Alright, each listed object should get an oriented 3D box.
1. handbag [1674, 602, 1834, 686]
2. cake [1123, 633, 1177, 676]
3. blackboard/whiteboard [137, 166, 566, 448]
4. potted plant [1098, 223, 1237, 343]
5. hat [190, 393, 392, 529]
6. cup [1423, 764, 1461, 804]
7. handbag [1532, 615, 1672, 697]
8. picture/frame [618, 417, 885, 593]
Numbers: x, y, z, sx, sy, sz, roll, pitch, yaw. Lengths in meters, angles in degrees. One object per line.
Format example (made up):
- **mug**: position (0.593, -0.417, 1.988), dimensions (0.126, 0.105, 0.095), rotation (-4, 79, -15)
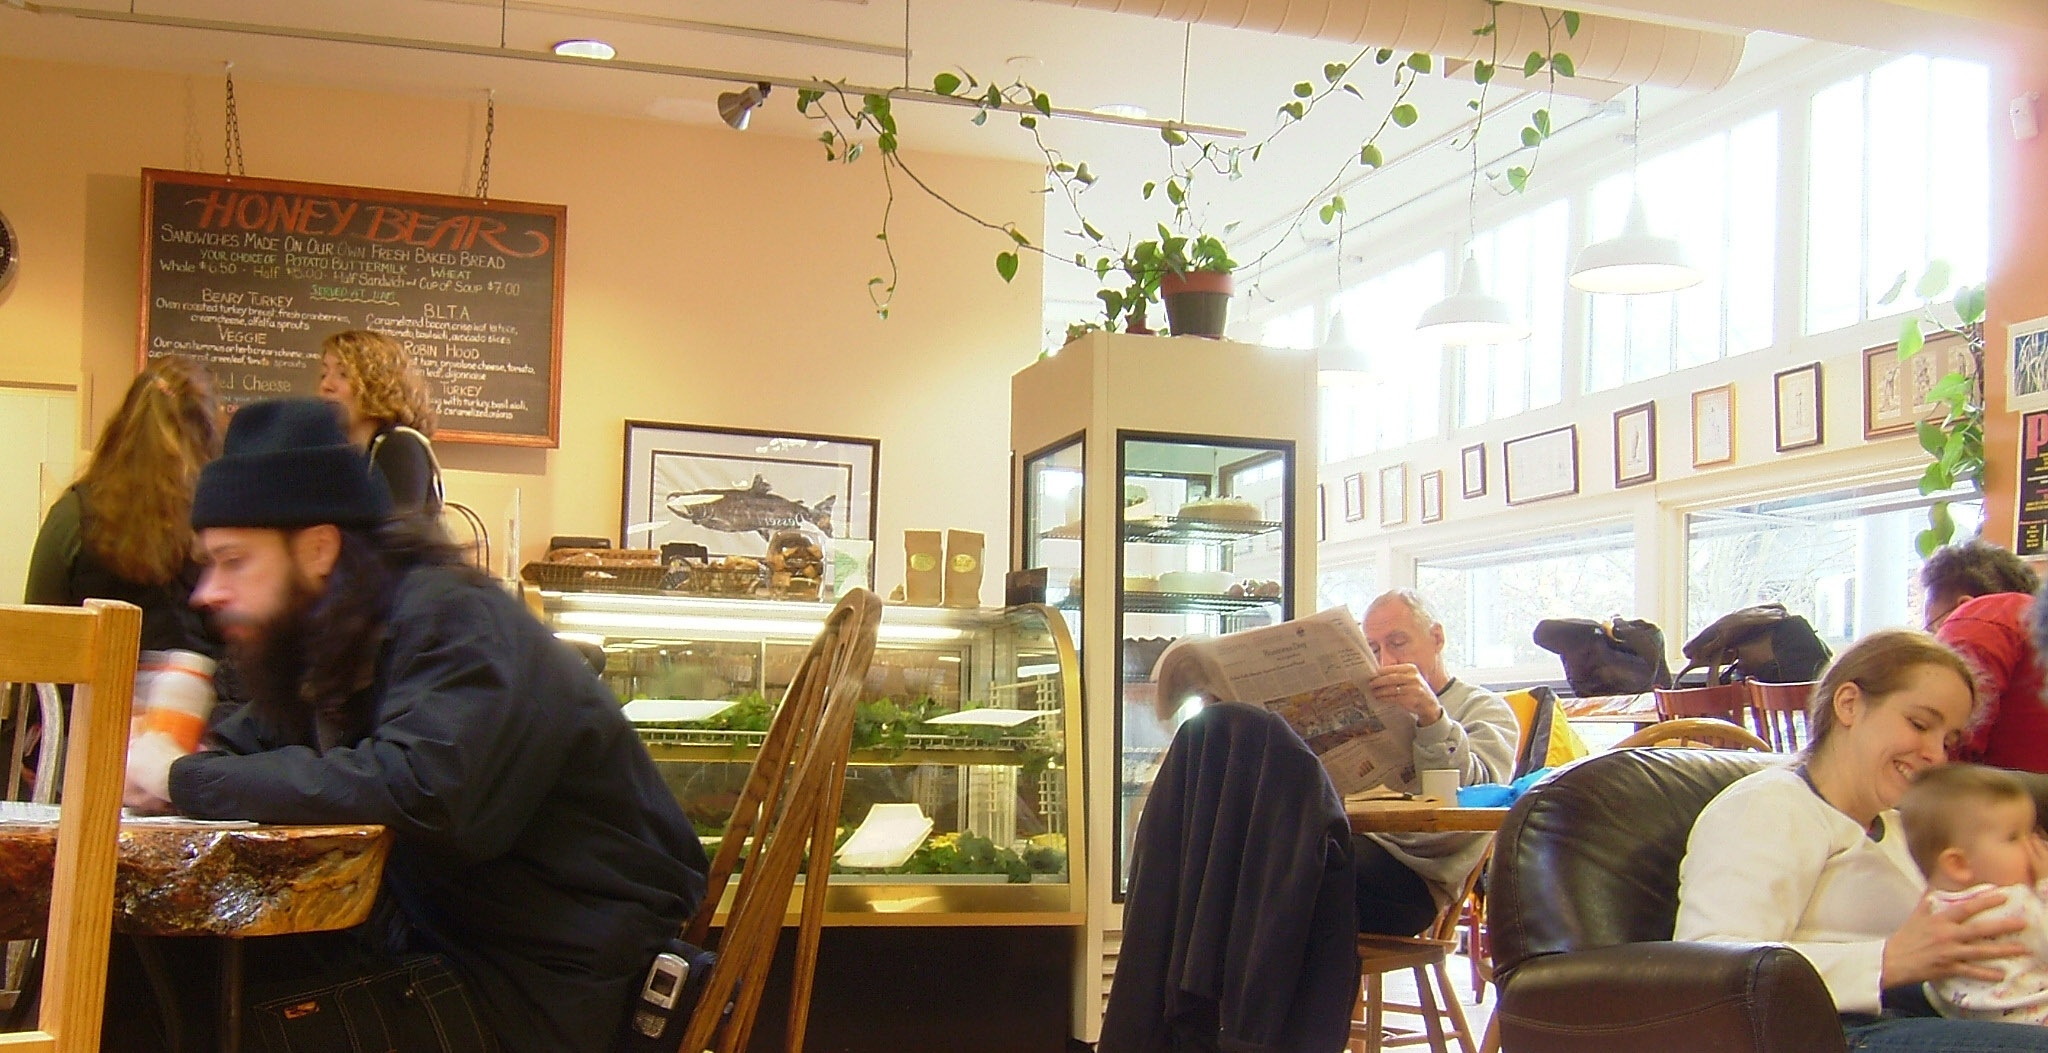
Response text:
- **handbag**: position (3.812, 0.573, 7.819), dimensions (0.994, 0.396, 0.796), rotation (-6, 4, -39)
- **cake**: position (0.561, 0.583, 6.596), dimensions (0.214, 0.121, 0.194), rotation (0, -6, 4)
- **blackboard/whiteboard**: position (-3.775, -1.210, 8.342), dimensions (0.054, 1.441, 2.533), rotation (15, 13, 33)
- **potted plant**: position (0.657, -1.134, 6.899), dimensions (0.726, 0.458, 0.745), rotation (3, 13, 43)
- **hat**: position (-1.911, -0.164, 3.876), dimensions (0.556, 0.303, 0.399), rotation (-4, 3, 12)
- **cup**: position (1.420, 0.881, 4.945), dimensions (0.131, 0.105, 0.117), rotation (0, 2, 4)
- **handbag**: position (3.414, 0.752, 8.569), dimensions (0.763, 0.456, 0.467), rotation (-10, -1, 33)
- **picture/frame**: position (-1.599, -0.064, 8.589), dimensions (1.619, 0.971, 0.037), rotation (3, 0, -36)
